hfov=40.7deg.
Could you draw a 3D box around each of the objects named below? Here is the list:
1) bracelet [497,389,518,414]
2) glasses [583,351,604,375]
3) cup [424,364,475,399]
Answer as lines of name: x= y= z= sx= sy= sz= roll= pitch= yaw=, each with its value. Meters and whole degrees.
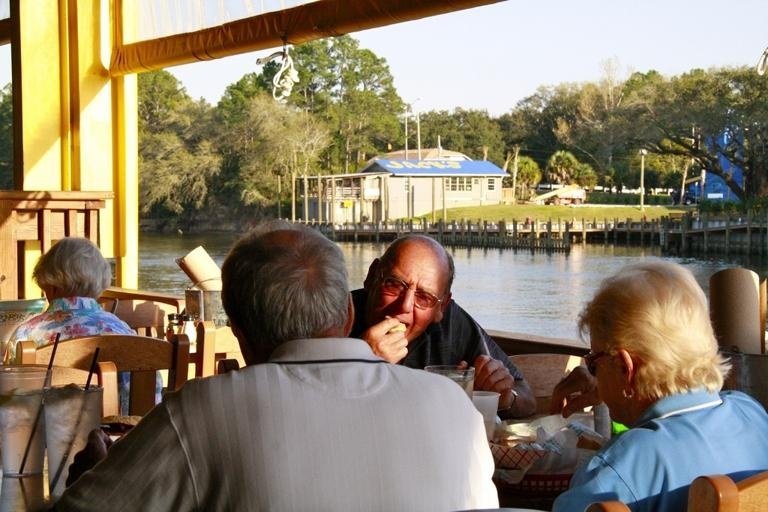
bracelet: x=0.508 y=0.591 z=4.239 sx=0.078 sy=0.094 sz=0.094 roll=1 pitch=10 yaw=-5
glasses: x=0.729 y=0.372 z=3.581 sx=0.075 sy=0.029 sz=0.086 roll=-8 pitch=33 yaw=13
cup: x=0.255 y=0.455 z=3.862 sx=0.129 sy=0.125 sz=0.155 roll=2 pitch=-4 yaw=-17
